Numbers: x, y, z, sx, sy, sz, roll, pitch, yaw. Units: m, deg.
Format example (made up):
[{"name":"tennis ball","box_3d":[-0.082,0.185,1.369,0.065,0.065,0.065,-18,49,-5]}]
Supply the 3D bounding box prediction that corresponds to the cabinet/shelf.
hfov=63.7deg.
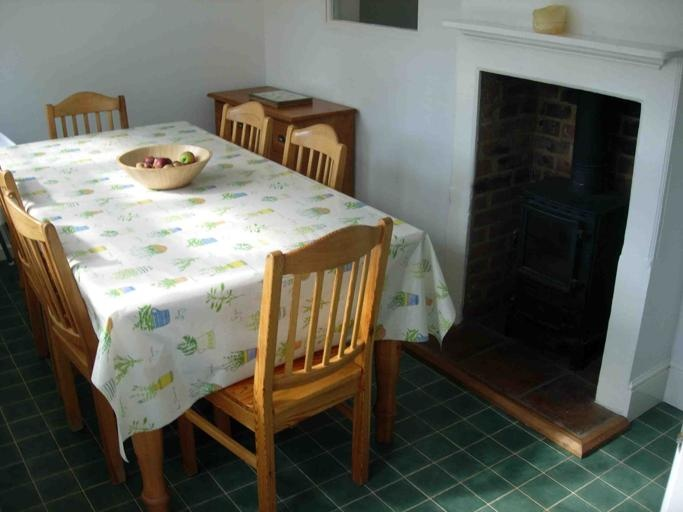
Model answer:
[{"name":"cabinet/shelf","box_3d":[-0.315,-0.689,3.298,0.329,0.702,0.735,-19,37,-35]}]

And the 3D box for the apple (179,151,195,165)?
[{"name":"apple","box_3d":[-0.730,-0.467,2.610,0.075,0.078,0.034,-6,-2,-4]}]

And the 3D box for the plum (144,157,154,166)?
[{"name":"plum","box_3d":[-0.914,-0.444,2.612,0.044,0.029,0.056,0,-1,-10]}]

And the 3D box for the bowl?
[{"name":"bowl","box_3d":[-0.851,-0.393,2.633,0.359,0.117,0.358,3,15,-1]}]
